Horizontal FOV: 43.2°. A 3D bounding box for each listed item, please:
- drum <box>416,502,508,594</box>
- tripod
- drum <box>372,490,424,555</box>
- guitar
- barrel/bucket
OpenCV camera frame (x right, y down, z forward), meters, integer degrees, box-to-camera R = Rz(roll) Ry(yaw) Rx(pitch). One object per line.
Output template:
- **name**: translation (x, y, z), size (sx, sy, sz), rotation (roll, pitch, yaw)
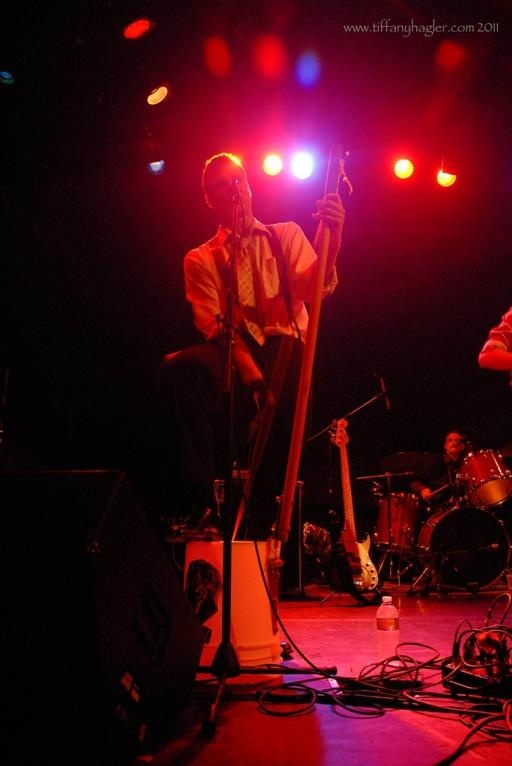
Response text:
- **drum**: translation (1.479, 1.174, 4.652), size (0.630, 0.602, 0.640), rotation (-6, -29, 21)
- **tripod**: translation (0.025, 0.181, 1.981), size (0.348, 1.627, 0.777), rotation (7, -25, -4)
- **drum**: translation (1.130, 1.070, 5.137), size (0.375, 0.453, 0.395), rotation (2, -32, 16)
- **guitar**: translation (0.582, 0.787, 4.003), size (0.279, 0.131, 1.197), rotation (-2, -69, 28)
- **barrel/bucket**: translation (-0.045, 0.671, 1.930), size (0.269, 0.373, 0.349), rotation (0, -16, -1)
